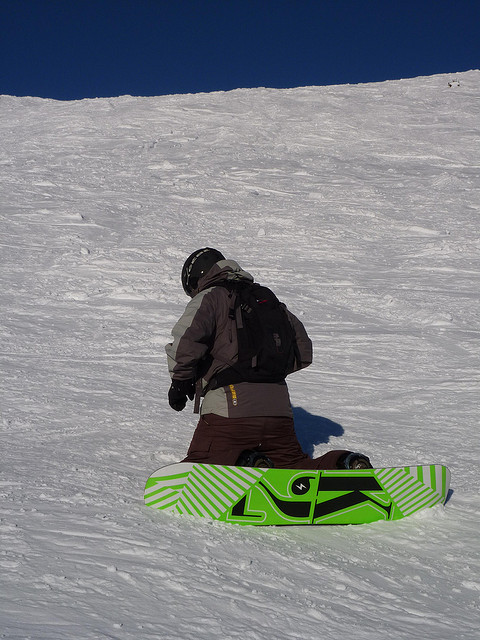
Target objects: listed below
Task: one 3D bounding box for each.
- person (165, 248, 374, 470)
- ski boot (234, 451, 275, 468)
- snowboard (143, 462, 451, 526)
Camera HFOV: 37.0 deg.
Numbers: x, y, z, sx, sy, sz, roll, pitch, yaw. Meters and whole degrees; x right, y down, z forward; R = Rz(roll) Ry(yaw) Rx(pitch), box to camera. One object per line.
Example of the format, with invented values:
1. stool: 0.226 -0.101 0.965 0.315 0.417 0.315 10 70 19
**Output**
1. person: 0.090 0.255 4.592 1.307 0.906 0.854 10 6 5
2. ski boot: 0.079 0.849 4.324 0.129 0.132 0.151 15 27 -34
3. snowboard: 0.338 1.018 4.257 1.776 0.279 0.188 7 6 -10
